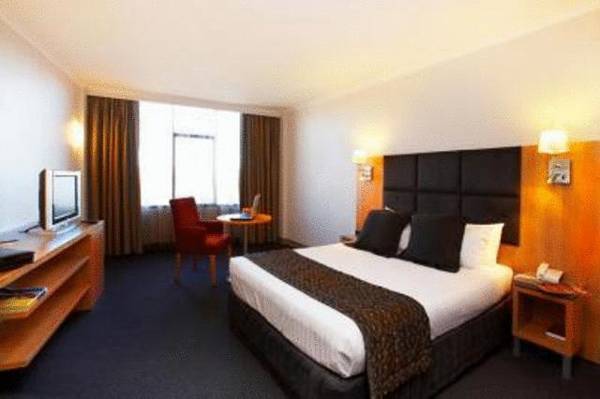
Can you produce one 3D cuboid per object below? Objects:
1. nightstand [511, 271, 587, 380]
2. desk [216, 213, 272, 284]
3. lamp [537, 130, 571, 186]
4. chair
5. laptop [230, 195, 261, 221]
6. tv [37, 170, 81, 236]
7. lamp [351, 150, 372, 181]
[{"bbox_3d":[2.635,1.296,4.091,0.665,0.915,0.484,5,9,39],"label":"nightstand"},{"bbox_3d":[-0.849,0.726,6.103,0.961,1.068,0.954,-1,0,-10],"label":"desk"},{"bbox_3d":[2.731,-0.455,4.118,0.304,0.585,0.312,3,8,29],"label":"lamp"},{"bbox_3d":[-1.488,0.578,5.846,0.799,1.179,0.977,0,7,3],"label":"chair"},{"bbox_3d":[-0.837,0.117,5.983,0.407,0.344,0.763,1,6,11],"label":"laptop"},{"bbox_3d":[-2.810,0.049,4.466,0.289,0.712,0.754,0,2,-5],"label":"tv"},{"bbox_3d":[0.966,-0.506,5.858,0.273,0.453,0.344,1,7,9],"label":"lamp"}]
